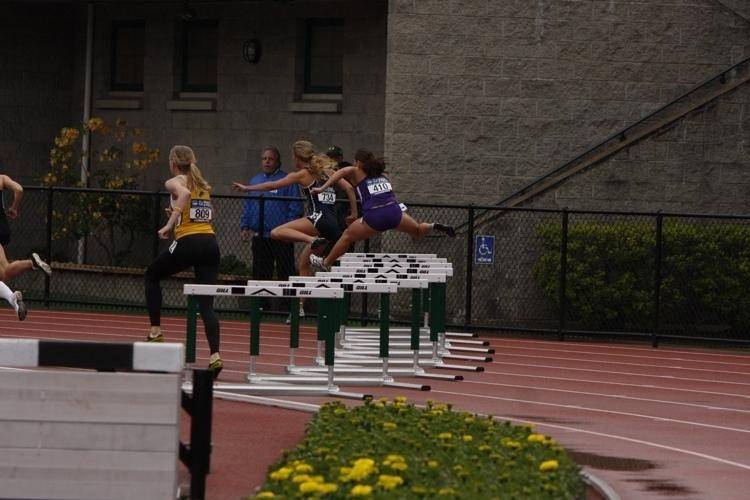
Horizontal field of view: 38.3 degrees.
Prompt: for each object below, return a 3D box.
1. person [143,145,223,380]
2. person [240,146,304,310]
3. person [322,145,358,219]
[{"bbox_3d":[-2.659,0.094,15.185,1.518,2.798,1.013,0,0,-3],"label":"person"},{"bbox_3d":[-1.918,-0.540,20.187,1.104,2.626,1.023,1,1,17],"label":"person"},{"bbox_3d":[-0.712,-1.272,19.987,0.558,1.393,0.579,14,19,35],"label":"person"}]
